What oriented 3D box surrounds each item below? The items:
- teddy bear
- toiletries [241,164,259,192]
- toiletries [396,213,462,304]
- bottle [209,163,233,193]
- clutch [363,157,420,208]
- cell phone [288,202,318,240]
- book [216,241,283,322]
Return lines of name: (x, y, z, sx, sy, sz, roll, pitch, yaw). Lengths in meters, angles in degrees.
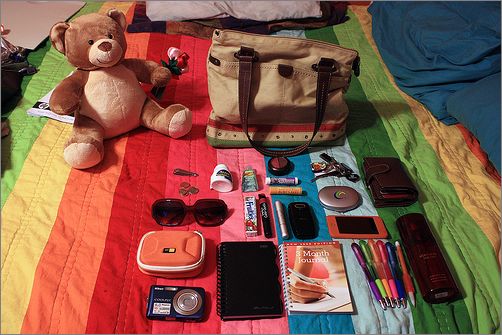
teddy bear: (-0.644, -0.399, 1.909, 0.621, 0.584, 0.429, -16, 44, -23)
toiletries: (-0.007, 0.051, 1.919, 0.095, 0.094, 0.164, 1, 44, -1)
toiletries: (0.760, 0.387, 1.769, 0.160, 0.148, 0.379, -7, 54, -1)
bottle: (-0.136, 0.060, 1.934, 0.114, 0.110, 0.126, -16, 62, 29)
clutch: (0.664, 0.068, 1.904, 0.211, 0.138, 0.229, -1, 40, -6)
cell phone: (0.240, 0.244, 1.805, 0.111, 0.077, 0.157, -3, 40, -8)
book: (-0.008, 0.472, 1.666, 0.263, 0.137, 0.289, 1, 40, -5)
